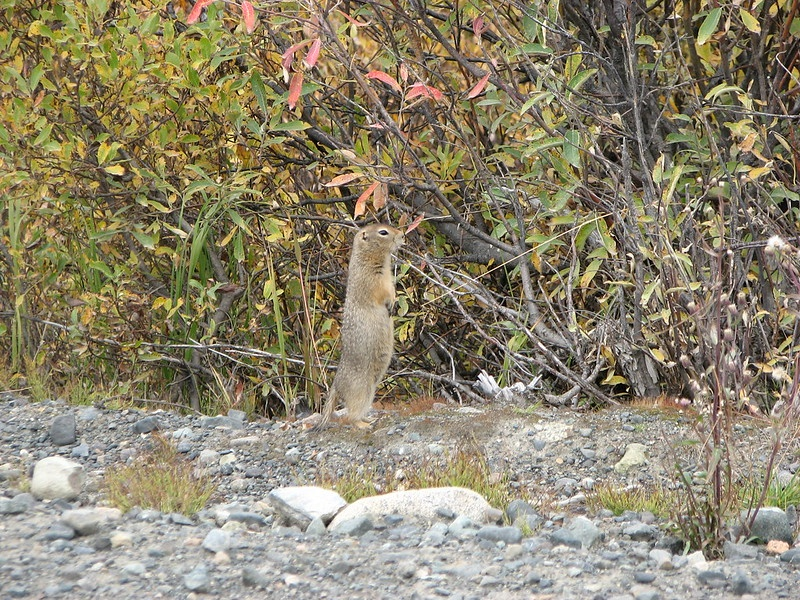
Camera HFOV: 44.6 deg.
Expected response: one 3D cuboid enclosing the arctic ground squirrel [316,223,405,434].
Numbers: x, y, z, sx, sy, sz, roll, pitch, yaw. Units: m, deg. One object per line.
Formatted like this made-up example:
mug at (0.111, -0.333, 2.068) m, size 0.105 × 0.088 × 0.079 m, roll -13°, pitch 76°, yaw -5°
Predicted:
arctic ground squirrel at (-0.283, 0.159, 7.317) m, size 0.452 × 1.449 × 0.674 m, roll 1°, pitch 7°, yaw 26°
